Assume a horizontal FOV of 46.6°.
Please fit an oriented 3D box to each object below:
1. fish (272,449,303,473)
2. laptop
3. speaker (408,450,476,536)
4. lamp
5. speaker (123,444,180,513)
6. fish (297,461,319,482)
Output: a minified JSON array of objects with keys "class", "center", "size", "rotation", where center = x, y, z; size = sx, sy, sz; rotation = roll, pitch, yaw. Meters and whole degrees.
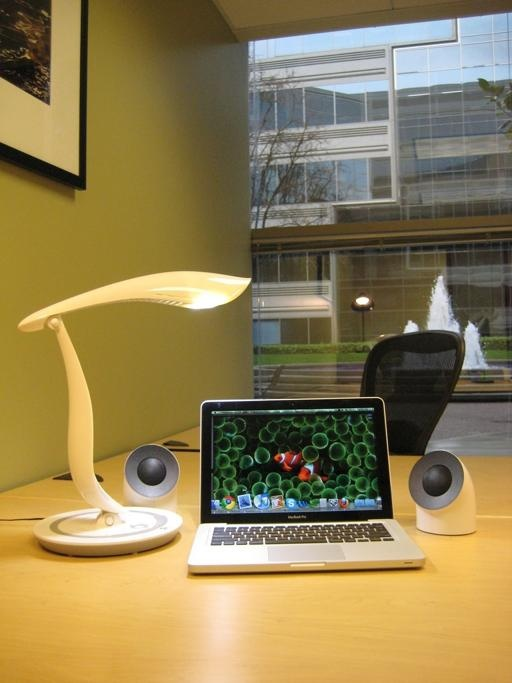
[{"class":"fish","center":[0.051,0.183,0.916],"size":[0.057,0.036,0.020],"rotation":[4,-7,9]},{"class":"laptop","center":[0.061,0.178,0.867],"size":[0.249,0.161,0.227],"rotation":[0,-3,-1]},{"class":"speaker","center":[0.291,0.231,0.910],"size":[0.085,0.116,0.088],"rotation":[3,-5,-38]},{"class":"lamp","center":[-0.252,0.096,0.965],"size":[0.446,0.503,0.291],"rotation":[2,4,-5]},{"class":"speaker","center":[-0.173,0.221,0.972],"size":[0.103,0.146,0.106],"rotation":[1,-9,-5]},{"class":"fish","center":[0.079,0.200,0.913],"size":[0.022,0.029,0.015],"rotation":[12,-15,-1]}]
